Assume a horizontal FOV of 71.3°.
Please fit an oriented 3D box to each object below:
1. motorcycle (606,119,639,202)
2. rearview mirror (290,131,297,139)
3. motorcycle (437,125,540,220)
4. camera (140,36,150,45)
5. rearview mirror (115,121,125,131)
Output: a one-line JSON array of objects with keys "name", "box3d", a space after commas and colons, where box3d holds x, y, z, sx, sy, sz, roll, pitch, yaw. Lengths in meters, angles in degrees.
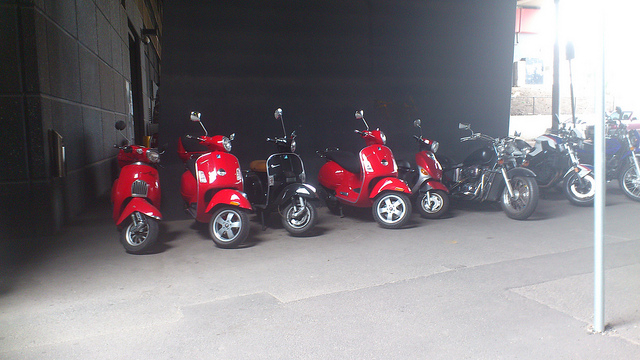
[{"name": "motorcycle", "box3d": [7.013, -0.525, 10.320, 0.757, 1.652, 1.496, 8, 17, 31]}, {"name": "rearview mirror", "box3d": [-0.466, -0.813, 8.109, 0.074, 0.085, 0.144, -2, -2, -13]}, {"name": "motorcycle", "box3d": [3.475, -0.279, 9.672, 1.521, 1.776, 3.228, 0, 4, -20]}, {"name": "camera", "box3d": [-6.644, -5.394, 17.087, 0.215, 0.242, 0.427, -13, 20, -24]}, {"name": "rearview mirror", "box3d": [-3.210, -0.899, 7.206, 0.126, 0.138, 0.133, 5, 39, -22]}]
